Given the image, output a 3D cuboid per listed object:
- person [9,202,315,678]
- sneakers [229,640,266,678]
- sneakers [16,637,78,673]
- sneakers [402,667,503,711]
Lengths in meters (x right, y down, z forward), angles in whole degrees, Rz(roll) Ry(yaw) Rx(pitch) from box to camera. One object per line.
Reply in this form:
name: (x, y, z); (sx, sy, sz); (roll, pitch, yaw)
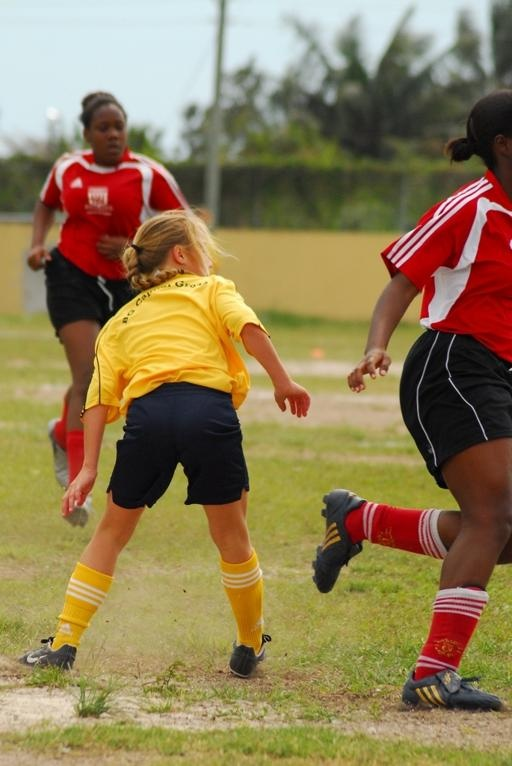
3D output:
person: (-0.310, 0.178, 2.855); (0.821, 1.406, 0.572); (-2, 8, -13)
sneakers: (-0.041, 0.843, 2.838); (0.058, 0.056, 0.147); (5, 2, 4)
sneakers: (-0.649, 0.801, 2.724); (0.209, 0.088, 0.067); (-2, -27, 29)
sneakers: (0.501, 0.800, 2.430); (0.273, 0.091, 0.089); (1, -13, 7)
